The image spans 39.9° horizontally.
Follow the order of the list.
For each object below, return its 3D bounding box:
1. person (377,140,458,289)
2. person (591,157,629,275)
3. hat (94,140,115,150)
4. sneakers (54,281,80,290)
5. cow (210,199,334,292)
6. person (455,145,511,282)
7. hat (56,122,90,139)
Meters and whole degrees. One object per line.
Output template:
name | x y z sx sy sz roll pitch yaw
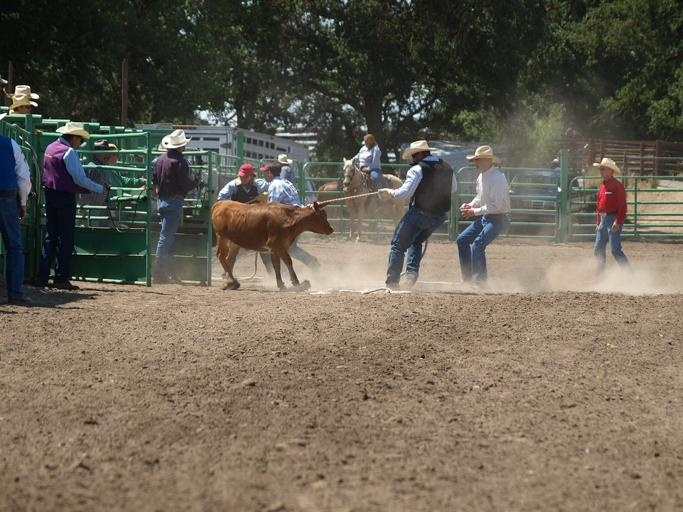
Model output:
person | 1.081 -0.596 13.541 1.006 2.089 0.663 2 6 -4
person | 4.313 -0.612 15.004 0.536 1.838 0.750 4 6 15
hat | -3.643 -1.695 14.465 0.187 0.108 0.302 7 5 37
sneakers | -3.731 0.389 12.726 0.333 0.115 0.243 1 8 -19
cow | -1.134 -0.158 13.779 1.704 1.345 0.432 4 6 9
person | 2.061 -0.576 13.598 0.728 1.991 0.753 3 6 10
hat | -3.572 -1.694 12.755 0.281 0.148 0.349 8 0 10
